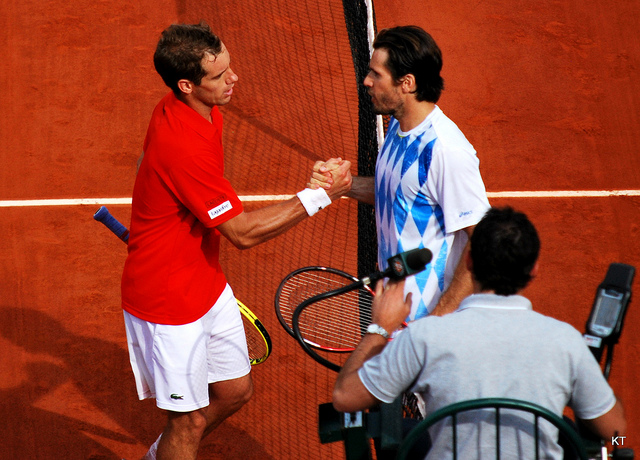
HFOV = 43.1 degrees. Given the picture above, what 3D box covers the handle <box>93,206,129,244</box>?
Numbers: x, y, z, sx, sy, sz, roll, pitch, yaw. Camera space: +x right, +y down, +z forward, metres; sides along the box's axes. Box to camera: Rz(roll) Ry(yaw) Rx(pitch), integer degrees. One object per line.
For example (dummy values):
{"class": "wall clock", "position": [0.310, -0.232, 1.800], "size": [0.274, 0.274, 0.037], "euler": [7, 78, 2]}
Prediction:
{"class": "handle", "position": [-2.058, -0.030, 7.984], "size": [0.502, 0.138, 0.104], "euler": [41, 2, -35]}
